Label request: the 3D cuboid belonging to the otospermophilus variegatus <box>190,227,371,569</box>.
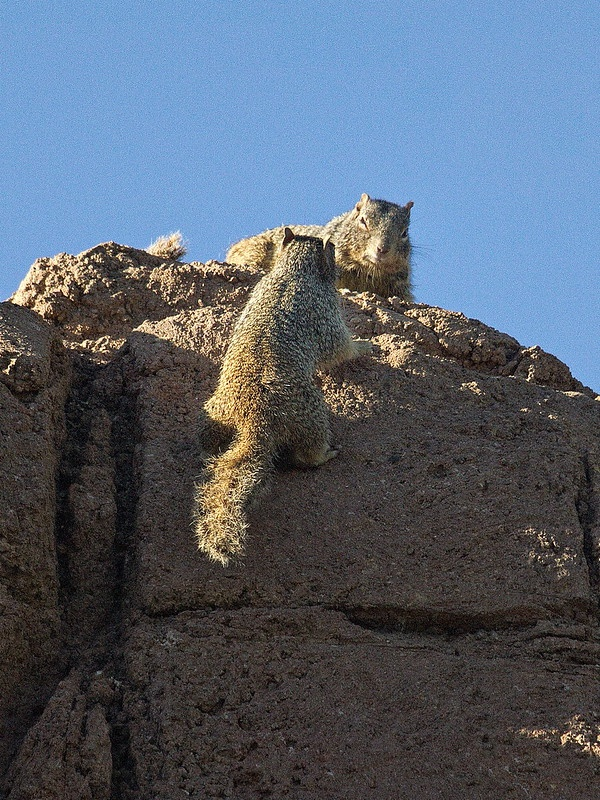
[{"bbox_3d":[-0.161,-0.046,14.023,0.741,2.532,0.886,1,-33,28],"label":"otospermophilus variegatus"}]
